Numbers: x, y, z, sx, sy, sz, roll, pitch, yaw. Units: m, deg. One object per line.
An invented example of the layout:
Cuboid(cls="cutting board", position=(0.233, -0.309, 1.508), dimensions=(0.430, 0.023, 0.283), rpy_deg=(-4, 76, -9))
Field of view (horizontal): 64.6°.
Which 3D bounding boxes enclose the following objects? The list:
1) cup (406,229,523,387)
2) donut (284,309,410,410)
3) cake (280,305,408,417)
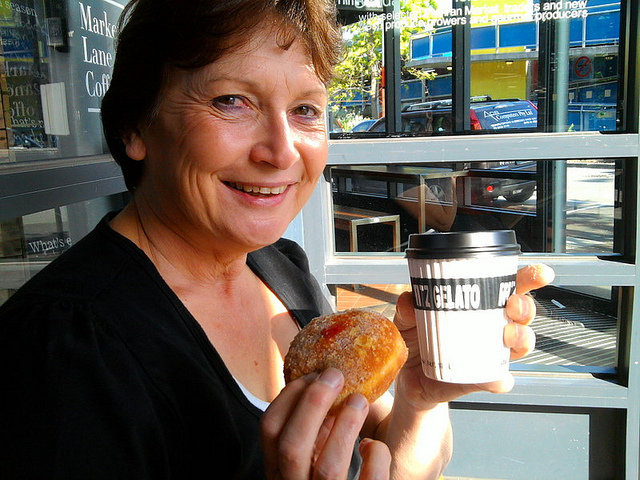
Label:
Cuboid(cls="cup", position=(0.407, 0.152, 1.501), dimensions=(0.370, 0.414, 0.369), rpy_deg=(-7, 2, 0))
Cuboid(cls="donut", position=(0.074, 0.278, 1.274), dimensions=(0.327, 0.178, 0.300), rpy_deg=(-7, 9, -23))
Cuboid(cls="cake", position=(0.065, 0.286, 1.306), dimensions=(0.342, 0.199, 0.339), rpy_deg=(-10, 2, 12))
